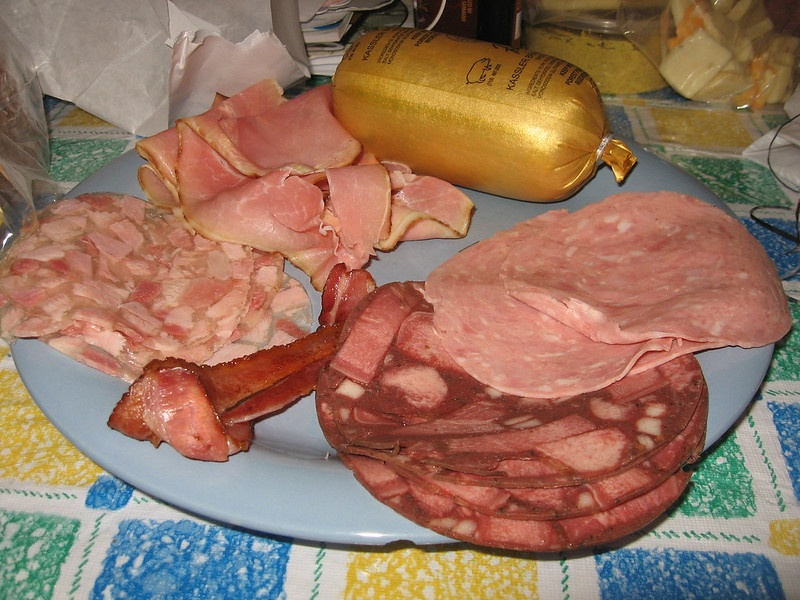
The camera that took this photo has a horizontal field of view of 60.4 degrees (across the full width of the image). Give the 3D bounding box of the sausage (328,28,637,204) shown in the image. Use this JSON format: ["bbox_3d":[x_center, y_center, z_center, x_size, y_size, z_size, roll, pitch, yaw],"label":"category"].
[{"bbox_3d":[0.096,-0.278,1.055,0.522,0.192,0.192,14,54,11],"label":"sausage"}]
